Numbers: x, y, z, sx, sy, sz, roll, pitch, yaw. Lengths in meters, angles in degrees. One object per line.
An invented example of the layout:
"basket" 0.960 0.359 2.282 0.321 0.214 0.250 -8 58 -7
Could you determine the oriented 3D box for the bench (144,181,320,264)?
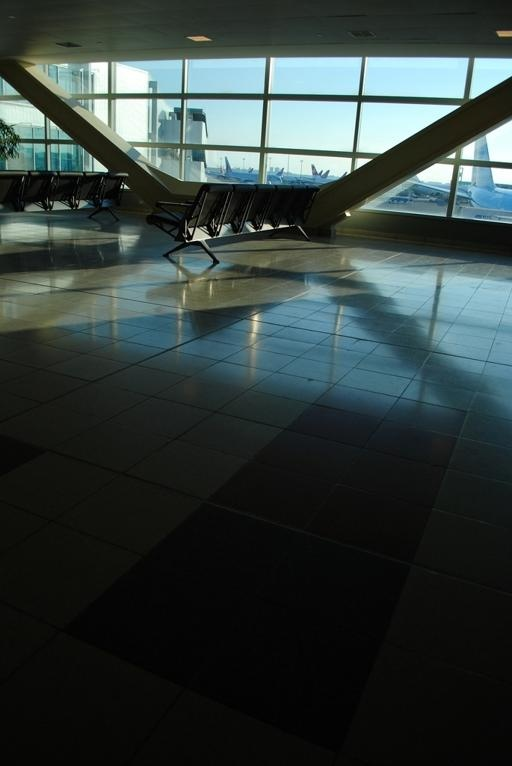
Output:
"bench" -0.294 -2.682 8.448 1.230 1.268 4.302 11 18 22
